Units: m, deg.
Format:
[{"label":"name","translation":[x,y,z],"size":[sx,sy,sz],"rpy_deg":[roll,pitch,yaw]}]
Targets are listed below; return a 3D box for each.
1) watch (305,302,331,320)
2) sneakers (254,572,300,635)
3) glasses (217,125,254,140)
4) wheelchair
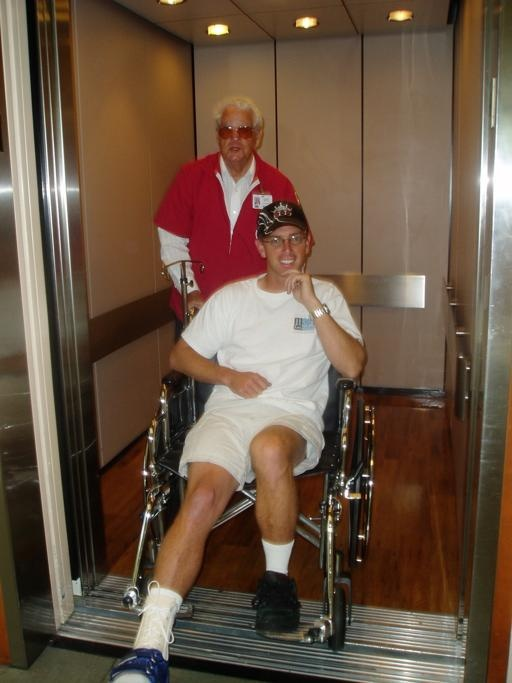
[{"label":"watch","translation":[0.182,-0.090,1.621],"size":[0.055,0.041,0.062],"rpy_deg":[-8,23,12]},{"label":"sneakers","translation":[0.051,0.630,1.290],"size":[0.105,0.119,0.109],"rpy_deg":[1,9,2]},{"label":"glasses","translation":[-0.089,-0.841,2.169],"size":[0.142,0.051,0.050],"rpy_deg":[2,9,7]},{"label":"wheelchair","translation":[0.091,0.274,1.595],"size":[0.577,0.939,0.727],"rpy_deg":[13,1,-1]}]
